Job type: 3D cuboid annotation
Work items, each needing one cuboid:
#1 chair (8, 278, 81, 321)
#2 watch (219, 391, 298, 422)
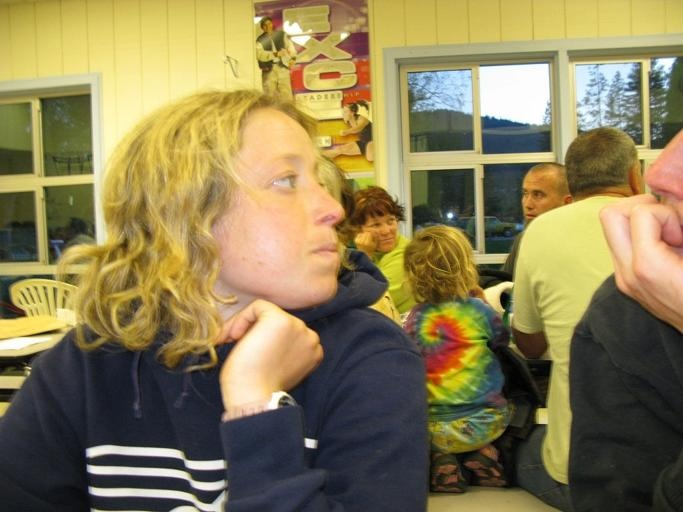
[{"bbox_3d":[-1.853,0.274,3.928,0.246,0.196,0.234,3,7,-18],"label":"chair"},{"bbox_3d":[-0.189,0.332,1.447,0.081,0.036,0.104,-10,-5,-27],"label":"watch"}]
